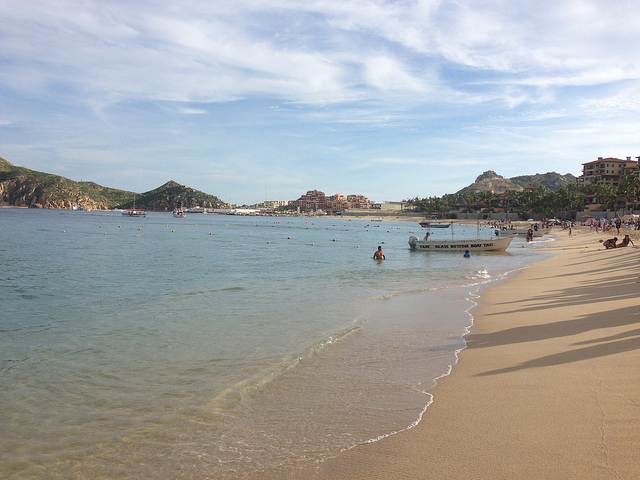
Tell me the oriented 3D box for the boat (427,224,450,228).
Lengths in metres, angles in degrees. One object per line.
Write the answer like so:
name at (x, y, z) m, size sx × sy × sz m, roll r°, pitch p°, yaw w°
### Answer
boat at (28.454, -3.671, 125.660) m, size 1.681 × 1.028 × 7.899 m, roll -1°, pitch -2°, yaw -30°

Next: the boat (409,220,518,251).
boat at (14.109, -0.045, 51.320) m, size 11.547 × 3.451 × 2.312 m, roll 0°, pitch -7°, yaw -4°

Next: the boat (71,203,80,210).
boat at (-138.853, -19.243, 294.620) m, size 3.253 × 3.427 × 3.066 m, roll -7°, pitch 11°, yaw -23°

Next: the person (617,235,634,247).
person at (23.920, 0.034, 41.005) m, size 0.663 × 0.876 × 2.964 m, roll 7°, pitch 12°, yaw 40°

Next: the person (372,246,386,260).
person at (5.256, 1.138, 47.387) m, size 1.141 × 1.666 × 0.603 m, roll 11°, pitch 34°, yaw 28°

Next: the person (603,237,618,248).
person at (22.921, 0.207, 41.169) m, size 0.656 × 0.893 × 1.390 m, roll 0°, pitch 10°, yaw 13°
